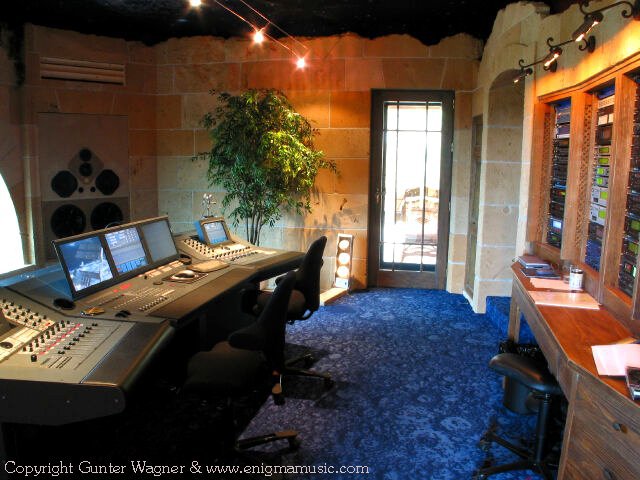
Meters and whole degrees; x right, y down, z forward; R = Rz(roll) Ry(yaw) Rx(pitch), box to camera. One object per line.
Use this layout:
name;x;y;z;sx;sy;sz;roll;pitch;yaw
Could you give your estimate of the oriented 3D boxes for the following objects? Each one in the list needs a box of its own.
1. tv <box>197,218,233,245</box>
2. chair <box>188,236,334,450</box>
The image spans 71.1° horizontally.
tv;-1.081;-0.081;4.540;0.132;0.237;0.259;-26;-8;27
chair;-0.366;0.732;3.218;0.751;1.177;1.343;3;13;12
